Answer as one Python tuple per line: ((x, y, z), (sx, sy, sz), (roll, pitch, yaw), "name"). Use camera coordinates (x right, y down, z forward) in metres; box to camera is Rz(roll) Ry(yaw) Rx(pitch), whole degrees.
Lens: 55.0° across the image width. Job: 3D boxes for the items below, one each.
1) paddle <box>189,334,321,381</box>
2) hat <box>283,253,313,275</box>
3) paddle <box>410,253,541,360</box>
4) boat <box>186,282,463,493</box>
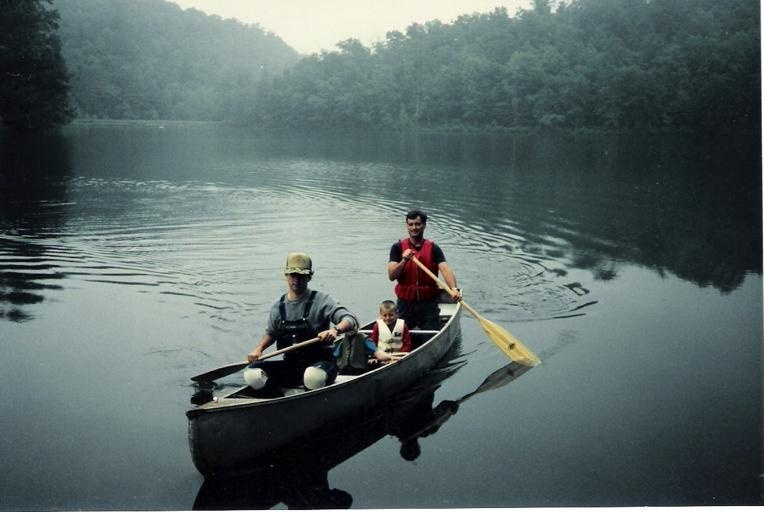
((-2.201, 1.806, 12.816), (2.550, 0.328, 0.121), (-16, 47, 0), "paddle")
((-1.364, 0.151, 12.096), (0.425, 0.381, 0.261), (-1, 10, -14), "hat")
((1.917, 1.111, 14.937), (2.846, 0.132, 0.332), (40, 39, 4), "paddle")
((-0.651, 2.142, 12.780), (5.412, 1.235, 1.780), (-24, 16, -35), "boat")
